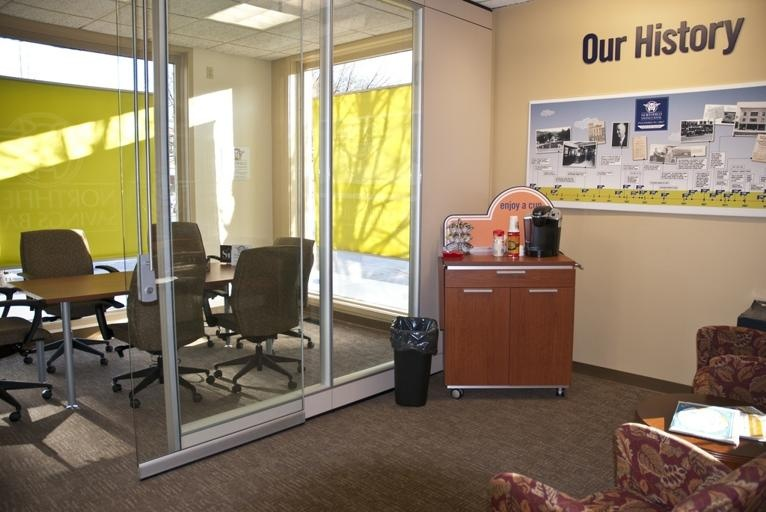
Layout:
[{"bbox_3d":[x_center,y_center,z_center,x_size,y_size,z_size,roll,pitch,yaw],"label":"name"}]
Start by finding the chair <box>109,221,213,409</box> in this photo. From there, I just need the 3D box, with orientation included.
[{"bbox_3d":[-1.810,0.446,4.466,0.864,1.371,0.846,3,4,9],"label":"chair"}]

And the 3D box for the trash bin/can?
[{"bbox_3d":[0.307,1.014,5.303,0.442,0.771,0.399,0,9,1],"label":"trash bin/can"}]

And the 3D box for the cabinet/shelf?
[{"bbox_3d":[1.226,0.665,5.601,1.403,1.359,0.824,0,2,-4],"label":"cabinet/shelf"}]

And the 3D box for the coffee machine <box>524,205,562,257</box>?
[{"bbox_3d":[1.579,-0.253,5.400,0.388,0.463,0.380,1,9,19],"label":"coffee machine"}]
